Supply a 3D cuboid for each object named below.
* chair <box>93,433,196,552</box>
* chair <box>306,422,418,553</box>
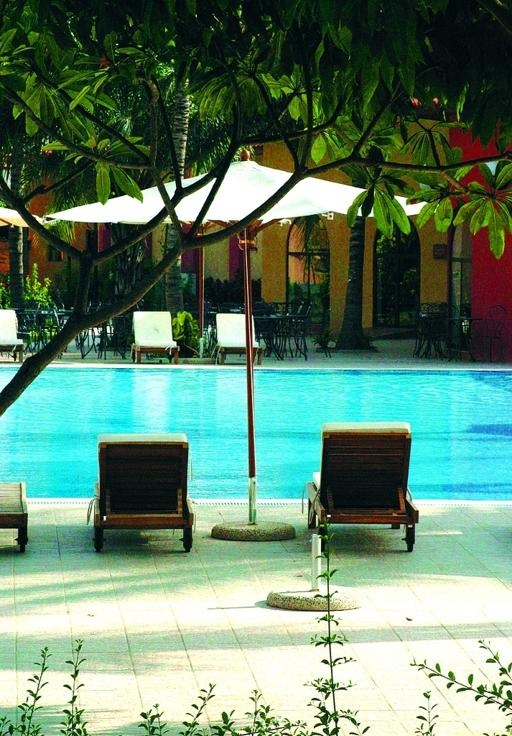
[{"bbox_3d":[-0.762,0.784,5.990,0.609,0.755,1.096,1,3,-12],"label":"chair"},{"bbox_3d":[0.675,0.736,5.922,0.670,0.790,0.644,1,2,3],"label":"chair"}]
